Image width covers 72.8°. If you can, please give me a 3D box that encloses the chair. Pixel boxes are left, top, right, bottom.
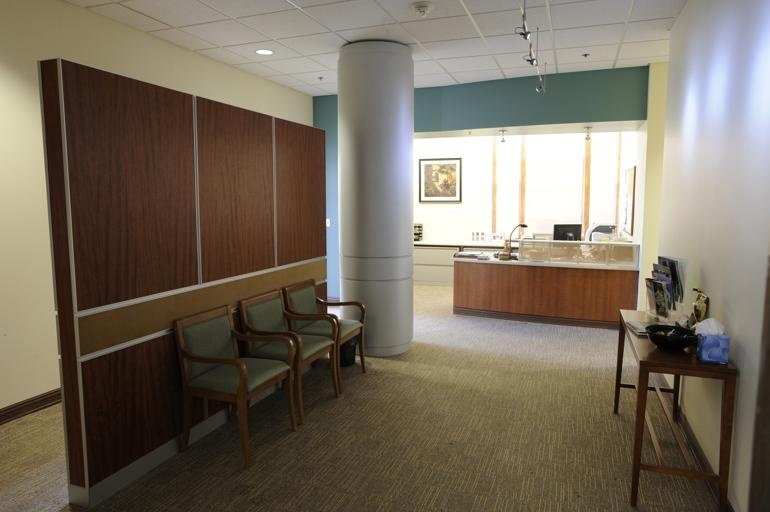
[{"bbox_3d":[-1.186,1.146,5.642,0.839,1.355,2.007,5,11,31],"label":"chair"}]

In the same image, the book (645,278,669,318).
[{"bbox_3d":[2.680,0.413,5.121,0.099,0.355,0.364,-5,5,8],"label":"book"}]

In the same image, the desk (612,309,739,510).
[{"bbox_3d":[2.656,1.413,4.709,0.505,0.881,1.624,1,4,10],"label":"desk"}]

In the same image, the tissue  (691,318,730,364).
[{"bbox_3d":[2.776,0.732,4.457,0.279,0.137,0.381,0,13,19],"label":"tissue "}]

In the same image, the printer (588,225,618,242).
[{"bbox_3d":[4.413,-0.466,10.525,0.594,0.569,0.384,2,5,27],"label":"printer"}]

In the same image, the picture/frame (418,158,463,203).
[{"bbox_3d":[1.334,-1.787,12.274,1.053,1.072,0.049,2,6,26],"label":"picture/frame"}]

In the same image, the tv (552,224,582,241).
[{"bbox_3d":[3.118,-0.388,8.859,0.475,0.322,0.259,-1,-1,28],"label":"tv"}]

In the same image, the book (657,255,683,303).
[{"bbox_3d":[2.781,0.220,5.077,0.160,0.402,0.344,-3,10,-9],"label":"book"}]
